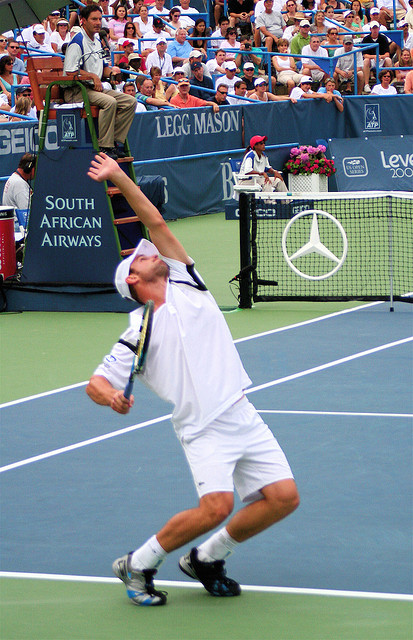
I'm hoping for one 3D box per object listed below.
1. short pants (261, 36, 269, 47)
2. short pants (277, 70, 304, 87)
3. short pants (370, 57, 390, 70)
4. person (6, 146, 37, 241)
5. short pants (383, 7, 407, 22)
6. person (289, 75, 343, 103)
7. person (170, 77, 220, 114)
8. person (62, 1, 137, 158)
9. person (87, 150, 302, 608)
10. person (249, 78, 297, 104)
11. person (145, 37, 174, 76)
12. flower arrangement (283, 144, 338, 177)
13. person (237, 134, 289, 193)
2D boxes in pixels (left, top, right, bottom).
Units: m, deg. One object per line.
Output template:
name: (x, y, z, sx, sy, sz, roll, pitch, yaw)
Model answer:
short pants: (1.981, -9.424, 24.469, 0.185, 0.336, 0.471, -4, 10, -6)
short pants: (2.622, -7.574, 22.625, 0.563, 0.576, 0.856, -9, 12, -29)
short pants: (5.977, -8.926, 25.112, 0.800, 0.350, 0.192, -7, 12, -25)
person: (-2.946, -1.976, 11.525, 0.471, 1.362, 1.260, -6, 11, -15)
short pants: (7.404, -11.872, 28.150, 0.789, 0.605, 0.585, 4, 12, 30)
person: (3.210, -7.127, 22.403, 1.571, 0.791, 0.615, -9, 12, -33)
person: (-0.445, -5.892, 19.174, 0.966, 1.268, 0.616, -3, -13, 1)
person: (-1.672, -3.608, 11.024, 1.043, 2.280, 1.360, -5, 11, -10)
person: (-0.120, 0.309, 3.088, 0.667, 1.843, 0.835, -10, 13, -32)
person: (1.772, -6.794, 21.542, 1.720, 0.756, 1.175, -12, 14, -42)
person: (-1.382, -7.537, 20.671, 0.714, 1.083, 1.110, -2, 11, 5)
flower arrangement: (2.828, -4.373, 19.921, 1.359, 0.835, 0.696, 0, 11, 15)
person: (1.392, -3.488, 17.480, 1.261, 1.808, 0.847, 2, 13, 36)
